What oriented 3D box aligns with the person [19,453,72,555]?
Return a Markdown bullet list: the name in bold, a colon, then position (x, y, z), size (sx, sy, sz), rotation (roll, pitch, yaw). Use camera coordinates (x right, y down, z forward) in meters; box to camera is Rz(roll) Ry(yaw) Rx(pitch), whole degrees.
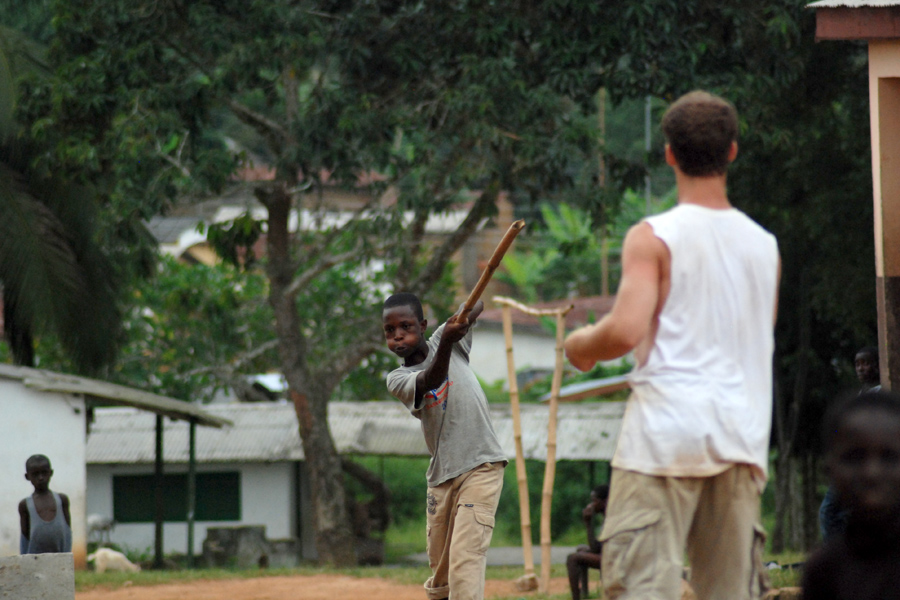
- **person**: position (-3.577, 1.789, 20.982), size (0.450, 0.887, 0.380), rotation (-1, -10, -12)
